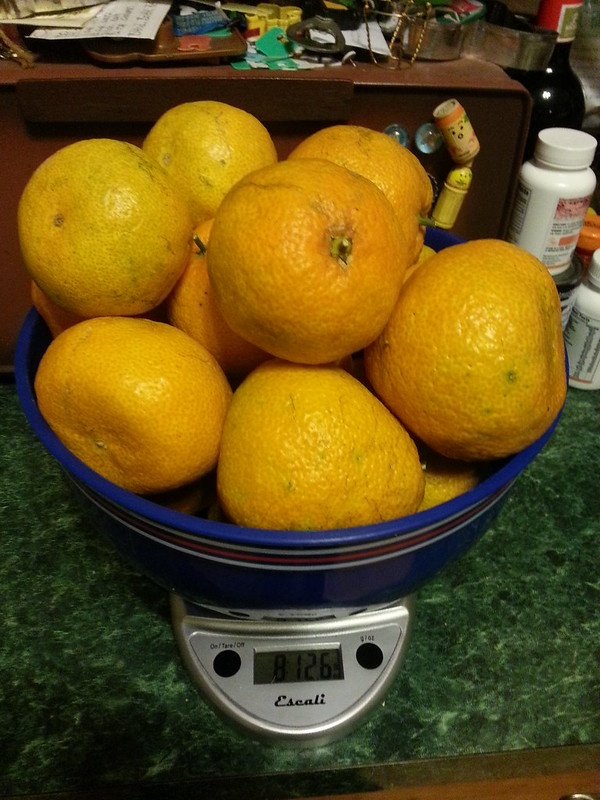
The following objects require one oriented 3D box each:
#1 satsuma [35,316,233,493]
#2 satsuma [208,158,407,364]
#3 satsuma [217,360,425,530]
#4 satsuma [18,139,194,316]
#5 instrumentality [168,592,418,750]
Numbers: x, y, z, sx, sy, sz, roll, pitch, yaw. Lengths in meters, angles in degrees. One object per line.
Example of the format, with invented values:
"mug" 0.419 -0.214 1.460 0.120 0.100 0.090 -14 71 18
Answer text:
"satsuma" -0.115 0.015 0.553 0.135 0.117 0.066 23 33 -1
"satsuma" 0.005 -0.090 0.481 0.121 0.090 0.114 13 54 7
"satsuma" 0.014 0.030 0.479 0.129 0.060 0.114 6 53 2
"satsuma" -0.124 -0.118 0.566 0.129 0.111 0.114 -1 88 10
"instrumentality" -0.007 0.199 0.577 0.199 0.044 0.116 1 52 -1
